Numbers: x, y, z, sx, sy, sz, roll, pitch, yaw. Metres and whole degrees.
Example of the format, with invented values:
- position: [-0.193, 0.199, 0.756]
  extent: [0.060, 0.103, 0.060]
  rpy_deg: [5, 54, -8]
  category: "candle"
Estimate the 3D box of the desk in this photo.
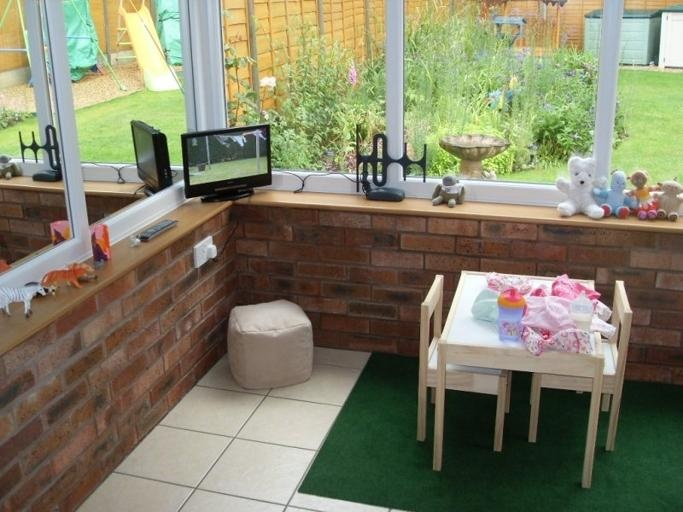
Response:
- position: [0.806, 0.664, 2.387]
  extent: [0.647, 0.491, 0.602]
  rpy_deg: [3, -10, 25]
  category: "desk"

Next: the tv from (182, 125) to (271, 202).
- position: [-0.674, -0.539, 3.093]
  extent: [0.416, 0.304, 0.117]
  rpy_deg: [-14, 31, -26]
  category: "tv"

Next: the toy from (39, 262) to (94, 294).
- position: [-1.108, 0.081, 2.179]
  extent: [0.258, 0.133, 0.085]
  rpy_deg: [-7, 16, -28]
  category: "toy"

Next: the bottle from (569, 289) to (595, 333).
- position: [0.999, 0.232, 2.219]
  extent: [0.083, 0.158, 0.180]
  rpy_deg: [7, 21, 26]
  category: "bottle"

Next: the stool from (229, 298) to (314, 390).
- position: [-0.400, 0.476, 3.073]
  extent: [0.439, 0.343, 0.461]
  rpy_deg: [-5, 21, -12]
  category: "stool"

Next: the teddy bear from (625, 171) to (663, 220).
- position: [1.601, -0.313, 2.823]
  extent: [0.205, 0.248, 0.161]
  rpy_deg: [-10, 13, 28]
  category: "teddy bear"

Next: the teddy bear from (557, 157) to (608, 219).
- position: [1.271, -0.398, 2.984]
  extent: [0.339, 0.416, 0.302]
  rpy_deg: [3, 12, 19]
  category: "teddy bear"

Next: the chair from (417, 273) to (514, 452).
- position: [0.579, 0.517, 2.453]
  extent: [0.488, 0.818, 0.522]
  rpy_deg: [3, 26, 12]
  category: "chair"

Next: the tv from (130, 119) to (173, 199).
- position: [-1.027, -0.521, 2.866]
  extent: [0.122, 0.344, 0.330]
  rpy_deg: [-19, 41, -27]
  category: "tv"

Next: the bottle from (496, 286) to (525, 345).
- position: [0.698, 0.239, 2.194]
  extent: [0.108, 0.200, 0.118]
  rpy_deg: [-2, 19, 1]
  category: "bottle"

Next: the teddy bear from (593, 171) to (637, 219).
- position: [1.457, -0.318, 2.850]
  extent: [0.224, 0.217, 0.139]
  rpy_deg: [7, 18, 21]
  category: "teddy bear"

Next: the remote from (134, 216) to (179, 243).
- position: [-0.930, -0.139, 2.708]
  extent: [0.092, 0.035, 0.182]
  rpy_deg: [5, 25, 32]
  category: "remote"
